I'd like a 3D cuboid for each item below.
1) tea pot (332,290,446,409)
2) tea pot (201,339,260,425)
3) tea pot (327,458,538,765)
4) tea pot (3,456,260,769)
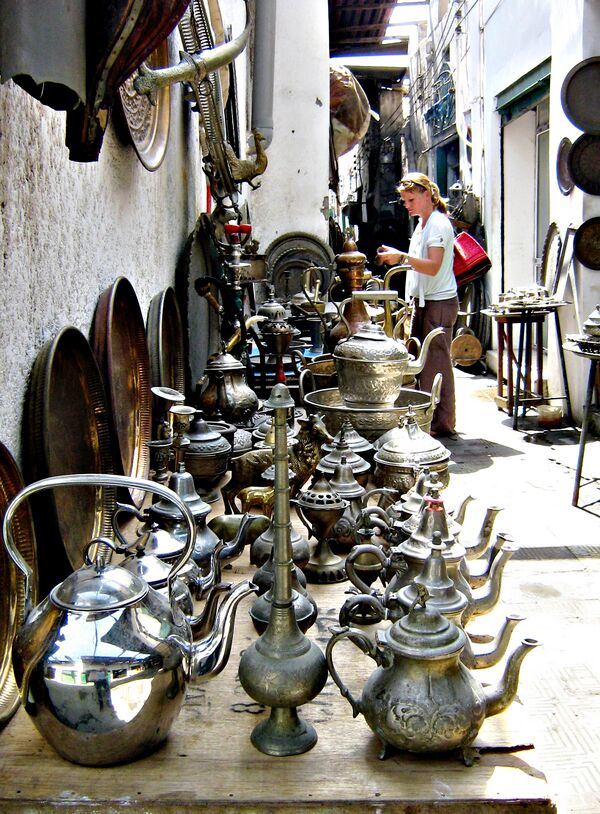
[{"bbox_3d":[0.296,-0.197,2.524,0.367,0.397,0.262,-4,19,-11],"label":"tea pot"},{"bbox_3d":[-0.241,-0.067,2.649,0.203,0.257,0.148,-6,7,-35],"label":"tea pot"},{"bbox_3d":[0.151,0.338,1.177,0.312,0.377,0.203,-1,13,1],"label":"tea pot"},{"bbox_3d":[-0.227,0.278,1.173,0.390,0.453,0.278,-1,8,-11],"label":"tea pot"}]
